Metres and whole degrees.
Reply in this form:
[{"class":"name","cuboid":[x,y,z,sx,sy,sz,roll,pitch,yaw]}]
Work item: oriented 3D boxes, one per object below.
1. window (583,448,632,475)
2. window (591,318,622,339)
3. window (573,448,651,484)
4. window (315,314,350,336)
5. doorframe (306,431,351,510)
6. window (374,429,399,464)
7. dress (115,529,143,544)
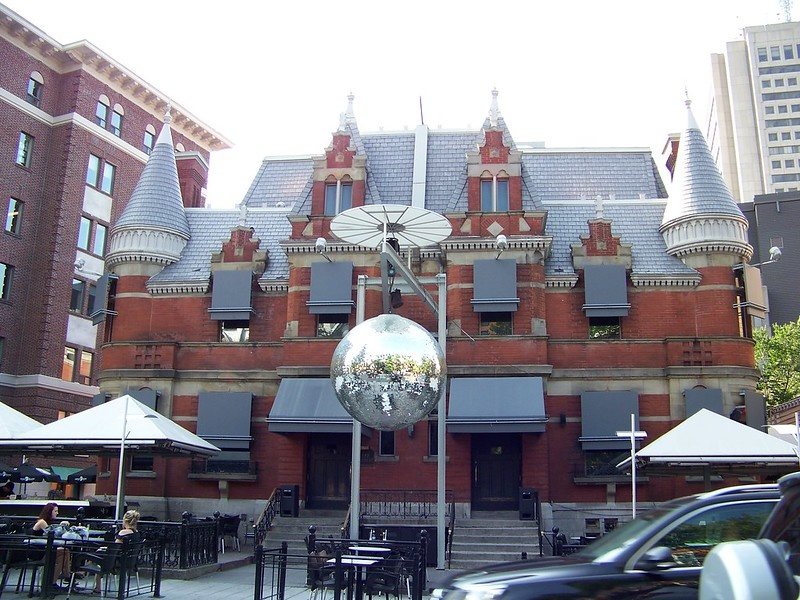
[{"class":"window","cuboid":[7.891,6.051,37.452,2.368,1.163,0.103,0,-22,5]},{"class":"window","cuboid":[8.279,1.166,39.567,1.028,0.594,0.033,0,-21,6]},{"class":"window","cuboid":[7.810,6.346,38.456,2.532,0.924,2.262,-1,-11,3]},{"class":"window","cuboid":[-2.659,1.000,39.406,1.118,1.277,0.060,0,-18,5]},{"class":"doorframe","cuboid":[-2.775,6.690,39.077,1.753,2.926,0.720,-1,-23,-2]},{"class":"window","cuboid":[-0.479,5.615,38.431,0.912,1.219,0.372,-3,-23,2]},{"class":"dress","cuboid":[-7.387,6.533,27.241,0.774,0.347,0.578,-2,8,-19]}]
